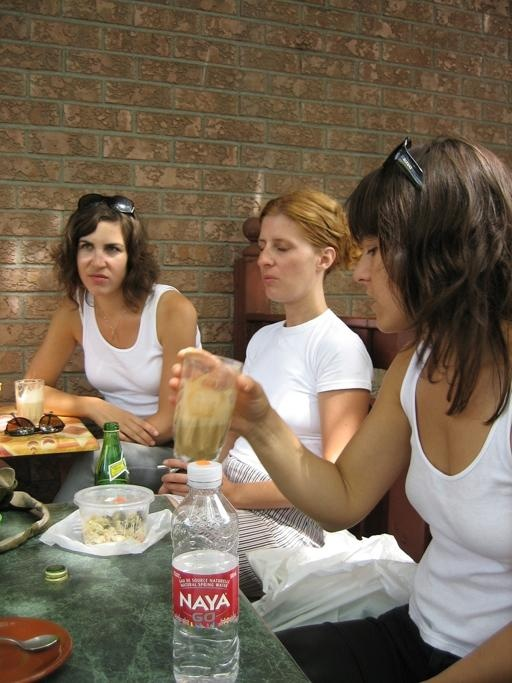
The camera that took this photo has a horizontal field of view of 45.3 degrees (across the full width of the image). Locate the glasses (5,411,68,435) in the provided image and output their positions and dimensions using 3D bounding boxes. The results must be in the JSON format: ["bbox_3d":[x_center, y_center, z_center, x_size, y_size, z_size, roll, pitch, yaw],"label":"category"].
[{"bbox_3d":[-0.637,0.244,1.787,0.160,0.045,0.121,-1,5,-42],"label":"glasses"}]

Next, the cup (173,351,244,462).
[{"bbox_3d":[-0.070,0.089,0.844,0.078,0.151,0.063,3,5,-4],"label":"cup"}]

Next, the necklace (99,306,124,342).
[{"bbox_3d":[-0.541,-0.059,2.336,0.098,0.112,0.032,-8,-7,32],"label":"necklace"}]

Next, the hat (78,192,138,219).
[{"bbox_3d":[-0.550,-0.509,2.283,0.202,0.084,0.103,2,4,-10],"label":"hat"}]
